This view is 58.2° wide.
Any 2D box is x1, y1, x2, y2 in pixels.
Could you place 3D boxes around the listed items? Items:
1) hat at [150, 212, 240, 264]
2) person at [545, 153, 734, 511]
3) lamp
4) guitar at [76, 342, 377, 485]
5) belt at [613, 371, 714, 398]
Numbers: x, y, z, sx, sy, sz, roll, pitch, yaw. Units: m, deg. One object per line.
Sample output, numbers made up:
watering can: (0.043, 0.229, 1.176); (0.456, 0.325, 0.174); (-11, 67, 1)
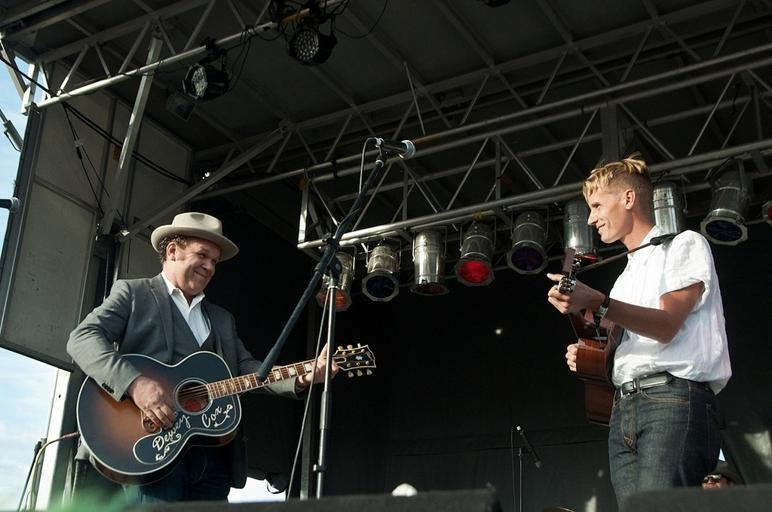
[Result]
hat: (-1.311, -0.149, 4.742); (0.413, 0.166, 0.385); (1, -33, 6)
person: (1.338, 0.250, 3.563); (0.667, 1.846, 0.670); (-10, -30, 26)
lamp: (1.547, -0.246, 7.497); (5.262, 1.344, 0.948); (-6, -56, 34)
guitar: (-0.923, 1.034, 4.591); (1.865, 0.866, 0.270); (-14, -20, -13)
belt: (1.331, 0.639, 3.473); (0.251, 0.066, 0.195); (-21, -20, 35)
